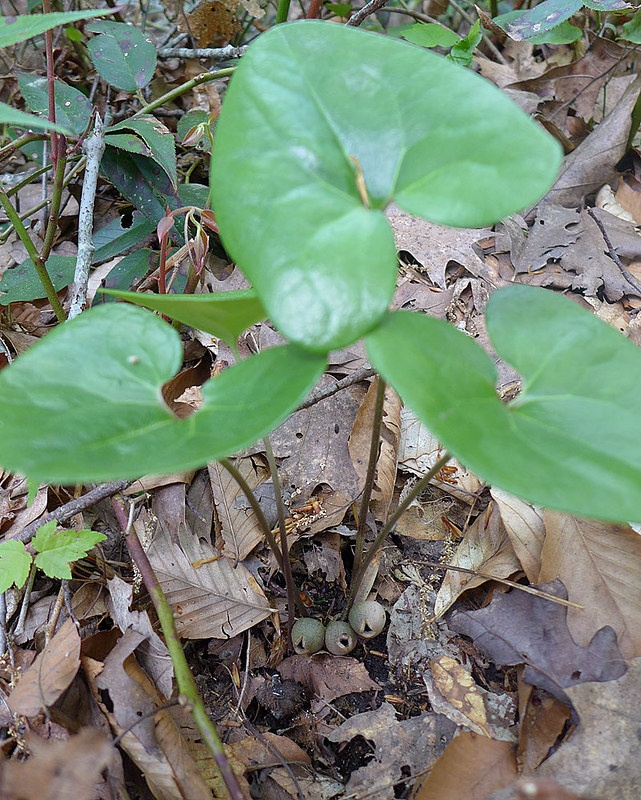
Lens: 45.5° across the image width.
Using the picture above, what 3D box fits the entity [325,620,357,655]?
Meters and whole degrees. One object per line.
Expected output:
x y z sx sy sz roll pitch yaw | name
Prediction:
0.041 0.500 1.602 0.064 0.084 0.061 -4 48 5 | entity

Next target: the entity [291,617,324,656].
-0.029 0.485 1.580 0.069 0.065 0.055 -3 47 5 | entity
